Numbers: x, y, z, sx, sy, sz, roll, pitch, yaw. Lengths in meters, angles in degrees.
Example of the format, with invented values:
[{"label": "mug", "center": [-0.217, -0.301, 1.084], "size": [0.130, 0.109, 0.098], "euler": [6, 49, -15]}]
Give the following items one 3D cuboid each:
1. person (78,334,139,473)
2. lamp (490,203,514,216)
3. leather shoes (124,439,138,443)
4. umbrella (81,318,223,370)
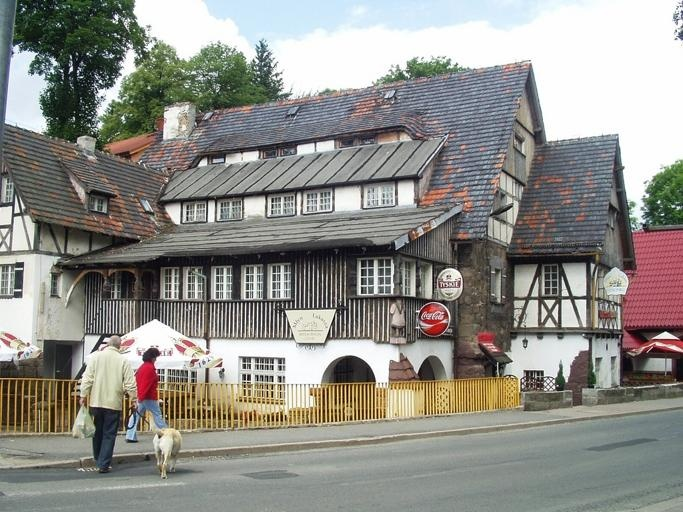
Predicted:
[{"label": "person", "center": [-5.688, 3.529, 25.230], "size": [1.173, 3.254, 0.997], "euler": [5, 5, -12]}, {"label": "lamp", "center": [6.385, -1.775, 40.919], "size": [0.783, 0.203, 0.633], "euler": [-6, -6, -29]}, {"label": "leather shoes", "center": [-5.634, 4.950, 27.783], "size": [0.320, 0.137, 0.112], "euler": [2, -4, -17]}, {"label": "umbrella", "center": [-5.701, 3.079, 35.351], "size": [2.414, 1.189, 2.517], "euler": [-3, -11, 18]}]
